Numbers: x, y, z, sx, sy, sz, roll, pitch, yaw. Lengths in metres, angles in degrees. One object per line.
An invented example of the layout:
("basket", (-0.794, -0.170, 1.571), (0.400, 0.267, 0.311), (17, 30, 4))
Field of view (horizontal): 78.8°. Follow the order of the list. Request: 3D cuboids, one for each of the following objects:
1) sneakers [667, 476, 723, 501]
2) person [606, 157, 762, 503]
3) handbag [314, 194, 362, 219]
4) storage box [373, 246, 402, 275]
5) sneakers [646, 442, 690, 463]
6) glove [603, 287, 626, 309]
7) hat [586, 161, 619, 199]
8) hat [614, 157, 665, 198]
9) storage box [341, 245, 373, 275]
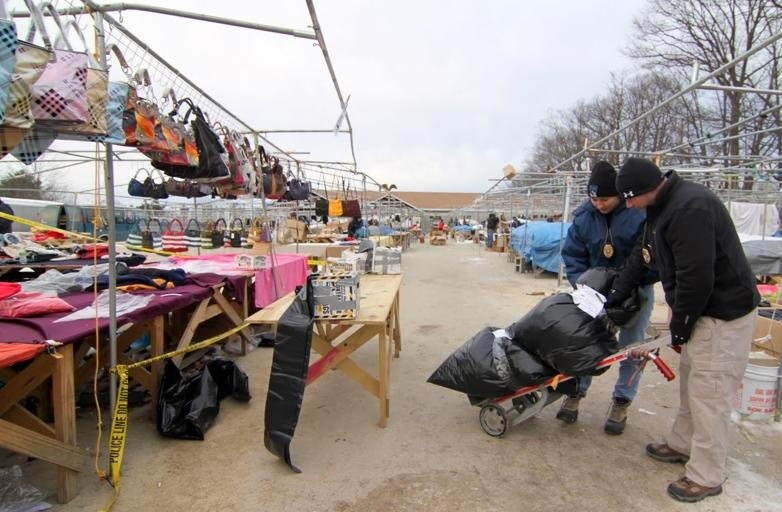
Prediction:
("sneakers", (2.598, 1.997, 4.167), (0.476, 0.214, 0.182), (2, -4, 3))
("person", (2.573, 0.604, 4.173), (1.002, 2.936, 0.625), (4, 9, 38))
("handbag", (-1.282, -1.130, 11.319), (0.959, 0.405, 1.234), (-3, 6, -22))
("storage box", (-0.024, 0.070, 6.627), (0.366, 0.348, 0.373), (-1, 1, 11))
("sneakers", (2.583, 1.854, 4.443), (0.344, 0.160, 0.139), (8, 7, 31))
("glove", (2.146, 0.408, 4.566), (0.087, 0.201, 0.147), (36, 18, -45))
("hat", (2.107, -0.744, 4.708), (0.279, 0.337, 0.364), (-7, 8, 32))
("hat", (2.206, -0.683, 4.259), (0.377, 0.339, 0.335), (-3, 7, 8))
("storage box", (-0.415, 0.067, 6.062), (0.458, 0.219, 0.567), (0, -1, -2))
